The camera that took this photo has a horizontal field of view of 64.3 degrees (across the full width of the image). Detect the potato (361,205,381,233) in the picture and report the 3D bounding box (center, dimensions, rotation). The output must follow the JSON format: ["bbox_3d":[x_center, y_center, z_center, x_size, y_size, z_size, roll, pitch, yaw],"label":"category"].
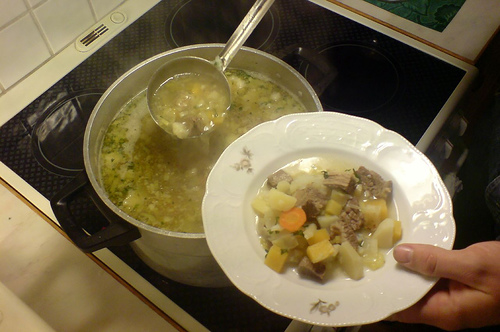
[{"bbox_3d":[0.477,0.202,1.559,0.091,0.036,0.092,6,102,3],"label":"potato"}]

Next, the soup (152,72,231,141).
[{"bbox_3d":[-0.276,-0.296,2.008,0.316,0.087,0.345,-1,84,0],"label":"soup"}]

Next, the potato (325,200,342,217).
[{"bbox_3d":[0.330,0.170,1.588,0.050,0.027,0.036,40,65,-16],"label":"potato"}]

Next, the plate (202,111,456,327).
[{"bbox_3d":[0.289,0.174,1.540,0.939,0.201,0.813,-5,85,-2],"label":"plate"}]

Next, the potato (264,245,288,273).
[{"bbox_3d":[0.097,0.350,1.537,0.089,0.093,0.094,28,88,-3],"label":"potato"}]

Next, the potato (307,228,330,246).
[{"bbox_3d":[0.265,0.269,1.526,0.062,0.091,0.053,-18,98,13],"label":"potato"}]

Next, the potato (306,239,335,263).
[{"bbox_3d":[0.269,0.321,1.515,0.106,0.050,0.085,-6,86,3],"label":"potato"}]

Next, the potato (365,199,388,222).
[{"bbox_3d":[0.508,0.184,1.613,0.084,0.023,0.084,0,74,4],"label":"potato"}]

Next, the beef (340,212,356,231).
[{"bbox_3d":[0.380,0.215,1.564,0.039,0.021,0.077,-38,91,-8],"label":"beef"}]

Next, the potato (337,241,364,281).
[{"bbox_3d":[0.384,0.362,1.506,0.087,0.053,0.142,-42,87,-5],"label":"potato"}]

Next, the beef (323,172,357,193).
[{"bbox_3d":[0.355,0.067,1.623,0.116,0.100,0.033,38,106,6],"label":"beef"}]

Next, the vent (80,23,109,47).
[{"bbox_3d":[-0.845,-0.716,2.163,0.164,0.026,0.075,-40,83,-8],"label":"vent"}]

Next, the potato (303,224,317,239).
[{"bbox_3d":[0.234,0.252,1.541,0.037,0.014,0.052,30,44,15],"label":"potato"}]

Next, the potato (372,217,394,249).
[{"bbox_3d":[0.514,0.261,1.533,0.075,0.035,0.116,3,84,-1],"label":"potato"}]

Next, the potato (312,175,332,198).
[{"bbox_3d":[0.298,0.081,1.620,0.089,0.025,0.083,9,83,-18],"label":"potato"}]

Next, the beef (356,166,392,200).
[{"bbox_3d":[0.493,0.065,1.585,0.147,0.039,0.086,39,99,27],"label":"beef"}]

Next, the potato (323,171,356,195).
[{"bbox_3d":[0.365,0.059,1.597,0.098,0.095,0.035,16,63,20],"label":"potato"}]
